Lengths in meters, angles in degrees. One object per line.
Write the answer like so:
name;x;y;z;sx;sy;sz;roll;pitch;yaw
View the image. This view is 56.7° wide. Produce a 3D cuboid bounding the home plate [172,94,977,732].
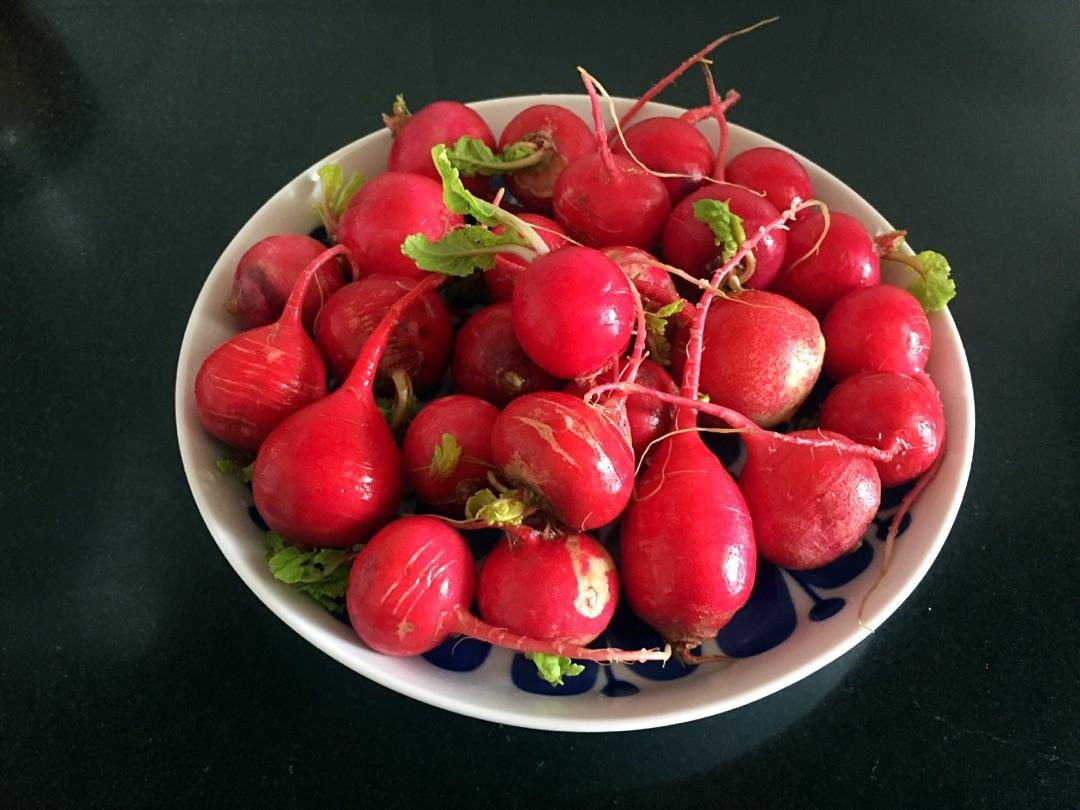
home plate;0.099;-0.229;1.164;0.868;0.193;0.933;-3;62;-4
